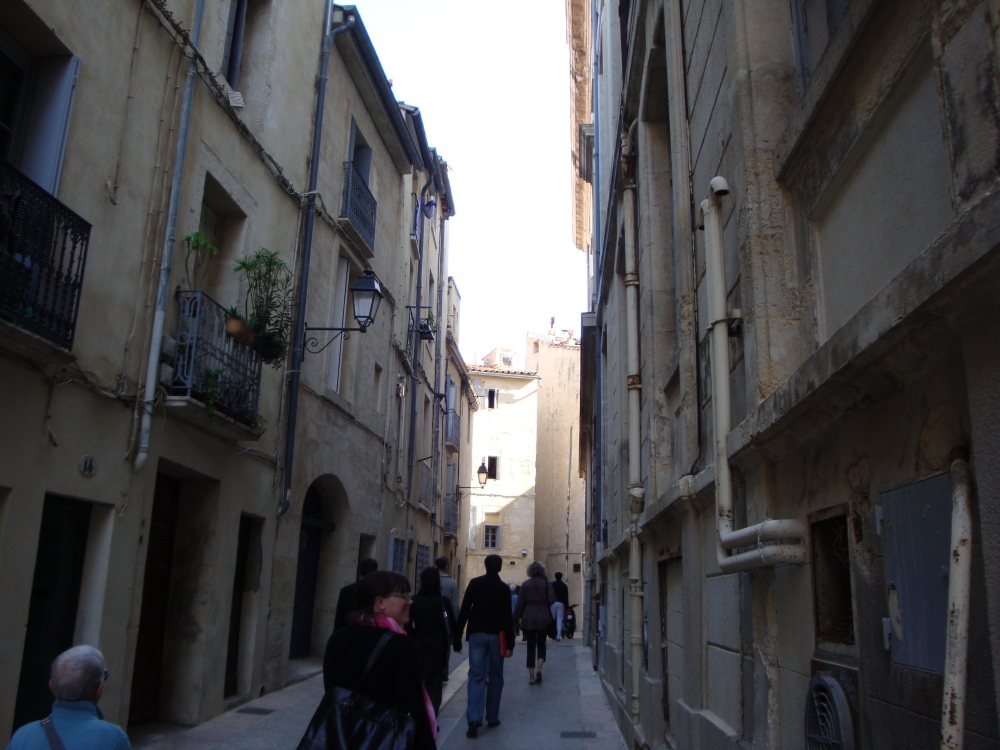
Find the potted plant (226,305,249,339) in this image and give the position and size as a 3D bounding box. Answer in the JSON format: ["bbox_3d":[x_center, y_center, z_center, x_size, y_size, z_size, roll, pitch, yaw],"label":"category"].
[{"bbox_3d":[-3.105,-0.594,9.370,0.241,0.217,0.262,2,-3,-5],"label":"potted plant"}]
